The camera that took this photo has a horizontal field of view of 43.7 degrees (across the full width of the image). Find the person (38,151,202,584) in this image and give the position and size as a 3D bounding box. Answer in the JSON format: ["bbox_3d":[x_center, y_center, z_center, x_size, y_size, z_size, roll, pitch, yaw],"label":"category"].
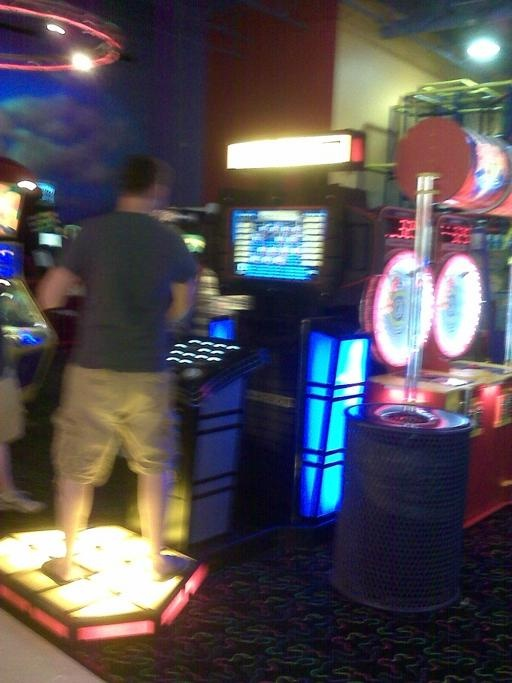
[{"bbox_3d":[-0.481,0.122,2.222,0.538,1.513,0.258,4,9,-5],"label":"person"}]

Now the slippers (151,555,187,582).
[{"bbox_3d":[-0.319,0.843,2.375,0.113,0.022,0.105,7,7,34],"label":"slippers"}]

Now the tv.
[{"bbox_3d":[0.148,-0.511,3.357,0.087,0.428,0.869,-11,16,-43],"label":"tv"}]
